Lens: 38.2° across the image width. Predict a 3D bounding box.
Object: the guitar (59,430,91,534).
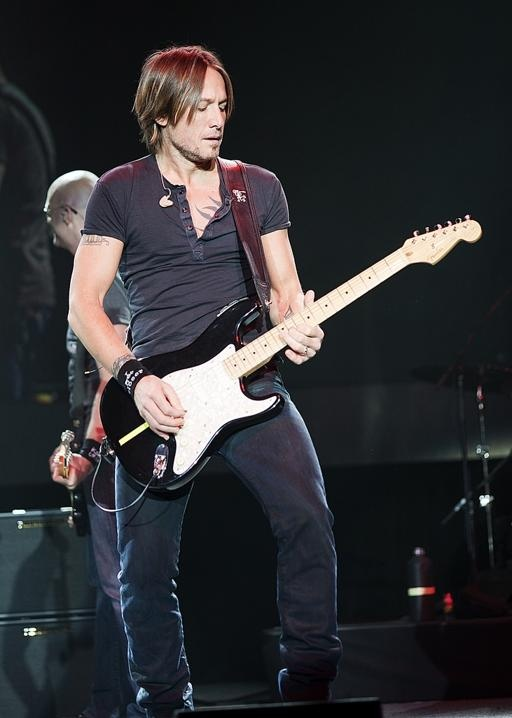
[{"bbox_3d":[-0.764,0.522,3.111,0.093,0.339,0.193,7,-4,-25],"label":"guitar"}]
